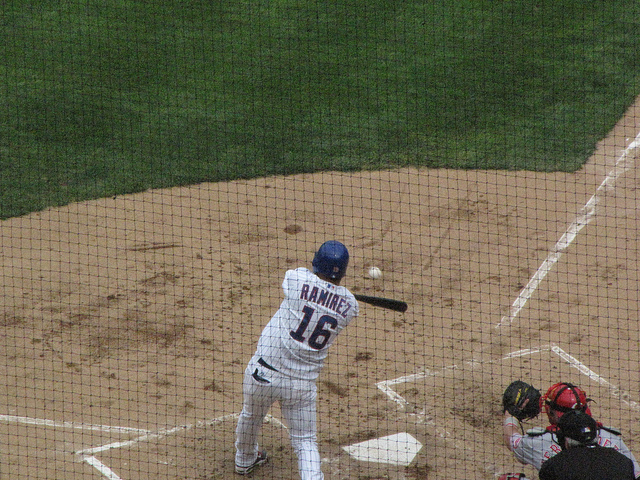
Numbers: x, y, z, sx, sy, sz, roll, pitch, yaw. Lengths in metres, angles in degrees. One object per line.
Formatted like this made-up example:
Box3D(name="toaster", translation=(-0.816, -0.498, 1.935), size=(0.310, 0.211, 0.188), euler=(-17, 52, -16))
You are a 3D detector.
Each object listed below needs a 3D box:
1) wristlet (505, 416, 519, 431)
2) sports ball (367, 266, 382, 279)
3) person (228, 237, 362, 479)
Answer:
Box3D(name="wristlet", translation=(2.628, 2.543, 20.133), size=(0.204, 0.119, 0.179), euler=(3, 6, -5))
Box3D(name="sports ball", translation=(0.842, 0.519, 22.964), size=(0.192, 0.137, 0.207), euler=(0, 2, 0))
Box3D(name="person", translation=(-0.376, 1.774, 20.062), size=(1.369, 3.423, 1.476), euler=(10, 25, -3))
